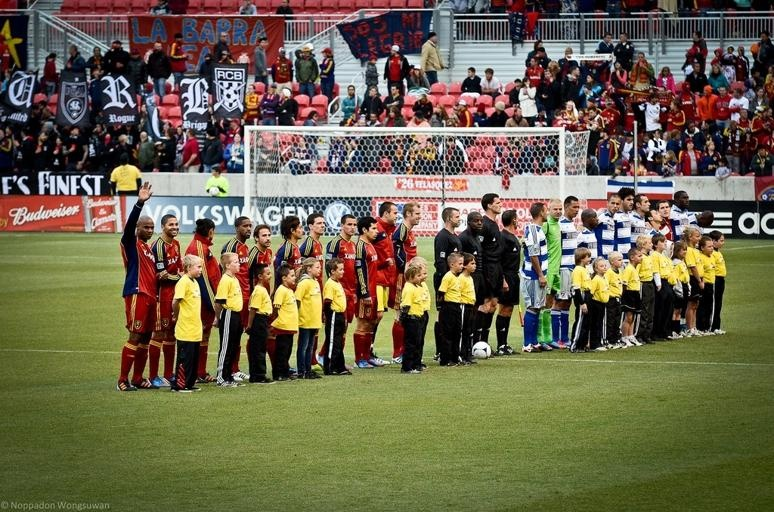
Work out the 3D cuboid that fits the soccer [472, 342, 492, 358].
[{"bbox_3d":[1.523,1.535,19.835,0.259,0.251,0.251,-2,-4,-37],"label":"soccer"}]
